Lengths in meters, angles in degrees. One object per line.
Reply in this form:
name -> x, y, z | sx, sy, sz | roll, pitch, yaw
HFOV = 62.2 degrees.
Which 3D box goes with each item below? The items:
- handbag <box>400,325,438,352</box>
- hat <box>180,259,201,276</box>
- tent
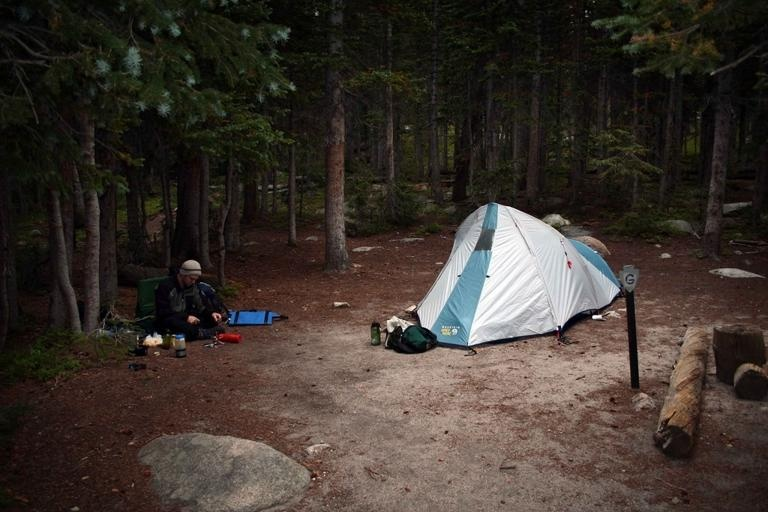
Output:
handbag -> 0.705, 1.732, 13.346 | 0.596, 0.442, 0.628 | 5, 14, 28
hat -> -4.261, 0.251, 13.824 | 0.469, 0.255, 0.323 | 12, 9, 22
tent -> 2.774, 0.483, 14.159 | 4.574, 1.560, 3.115 | -11, 12, -36
